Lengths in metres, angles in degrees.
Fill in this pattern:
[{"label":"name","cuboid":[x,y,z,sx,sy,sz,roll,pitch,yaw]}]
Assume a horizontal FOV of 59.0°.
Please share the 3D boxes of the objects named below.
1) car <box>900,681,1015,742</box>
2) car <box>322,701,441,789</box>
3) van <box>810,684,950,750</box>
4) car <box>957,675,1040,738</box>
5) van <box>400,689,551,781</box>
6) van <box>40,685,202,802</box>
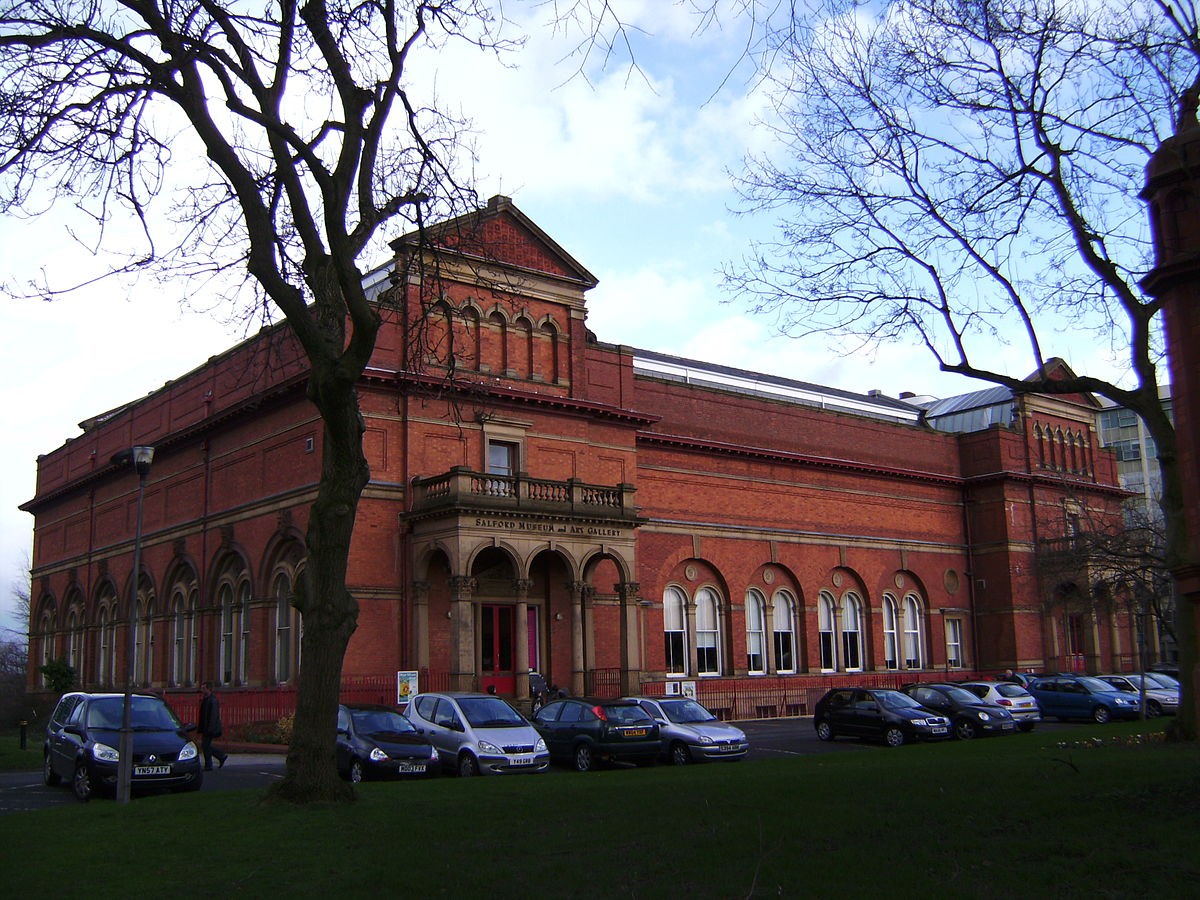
[{"label":"car","cuboid":[10.872,7.922,32.370,1.360,1.189,2.492,8,-18,-42]},{"label":"car","cuboid":[-4.674,6.359,23.112,2.040,1.652,1.733,-19,-24,40]},{"label":"van","cuboid":[8.113,7.775,30.831,1.648,1.269,3.357,8,-18,-37]},{"label":"car","cuboid":[12.751,8.229,33.919,1.235,1.064,2.716,3,-7,-26]},{"label":"van","cuboid":[-2.894,6.451,24.205,1.680,1.323,2.955,7,-16,-34]},{"label":"van","cuboid":[-9.909,6.084,21.798,2.109,1.680,3.845,9,-21,-34]}]
